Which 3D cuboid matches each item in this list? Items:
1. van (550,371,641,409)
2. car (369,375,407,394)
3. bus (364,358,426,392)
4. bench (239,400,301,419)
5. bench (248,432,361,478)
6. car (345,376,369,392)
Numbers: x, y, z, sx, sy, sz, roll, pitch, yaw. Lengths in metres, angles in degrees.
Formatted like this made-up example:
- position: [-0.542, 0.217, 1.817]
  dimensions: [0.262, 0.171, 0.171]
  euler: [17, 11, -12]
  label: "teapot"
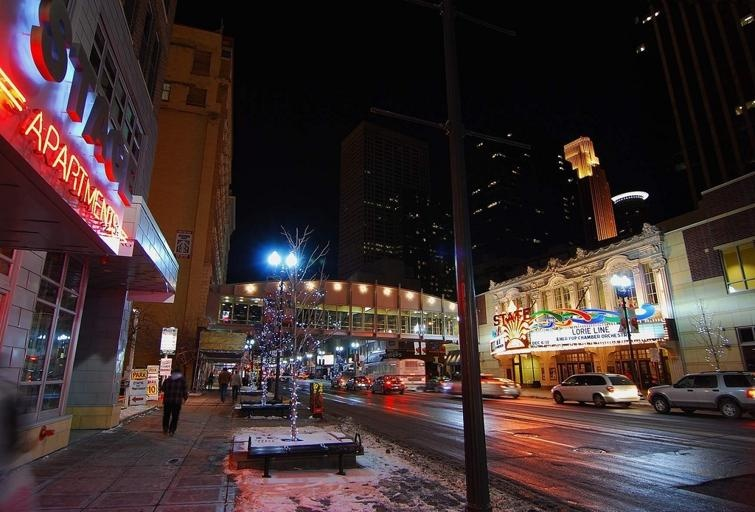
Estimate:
- position: [12.761, 7.756, 28.148]
  dimensions: [2.242, 1.594, 4.564]
  euler: [9, -14, -20]
  label: "van"
- position: [0.900, 12.086, 44.195]
  dimensions: [1.772, 1.222, 2.873]
  euler: [5, -12, -20]
  label: "car"
- position: [2.007, 13.406, 53.780]
  dimensions: [2.950, 2.596, 8.796]
  euler: [8, -17, -22]
  label: "bus"
- position: [-5.458, 7.415, 22.834]
  dimensions: [2.415, 0.658, 2.910]
  euler: [2, -17, -7]
  label: "bench"
- position: [-2.135, 5.570, 13.391]
  dimensions: [2.968, 0.833, 2.889]
  euler: [4, -17, -13]
  label: "bench"
- position: [-2.187, 13.595, 50.245]
  dimensions: [1.357, 1.014, 2.618]
  euler: [3, -11, -13]
  label: "car"
